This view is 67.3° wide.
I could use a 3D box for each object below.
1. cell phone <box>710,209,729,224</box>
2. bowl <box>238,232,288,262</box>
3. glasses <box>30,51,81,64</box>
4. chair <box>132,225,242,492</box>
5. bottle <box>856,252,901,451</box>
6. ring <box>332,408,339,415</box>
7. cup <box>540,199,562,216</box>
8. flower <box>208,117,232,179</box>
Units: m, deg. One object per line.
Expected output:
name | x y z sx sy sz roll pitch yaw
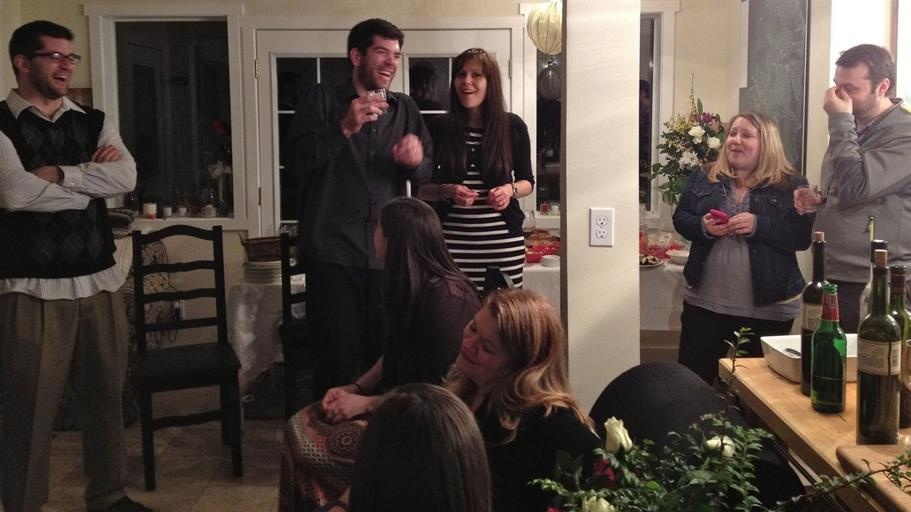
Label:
cell phone | 1.312 -0.195 3.417 0.097 0.048 0.034 18 35 24
bowl | -1.098 -0.038 3.931 0.227 0.105 0.264 0 -6 -3
glasses | -1.939 -0.968 3.342 0.204 0.049 0.059 -4 8 -11
chair | -1.468 0.517 3.786 0.677 1.211 0.590 0 11 -14
bottle | 1.448 0.316 2.348 0.154 0.669 0.091 -5 7 -11
ring | -0.532 0.692 3.042 0.018 0.020 0.021 -3 24 2
cup | 0.654 -0.334 4.804 0.127 0.101 0.069 -5 8 -15
flower | -1.722 -0.789 5.043 0.121 0.409 0.234 -8 9 -33
